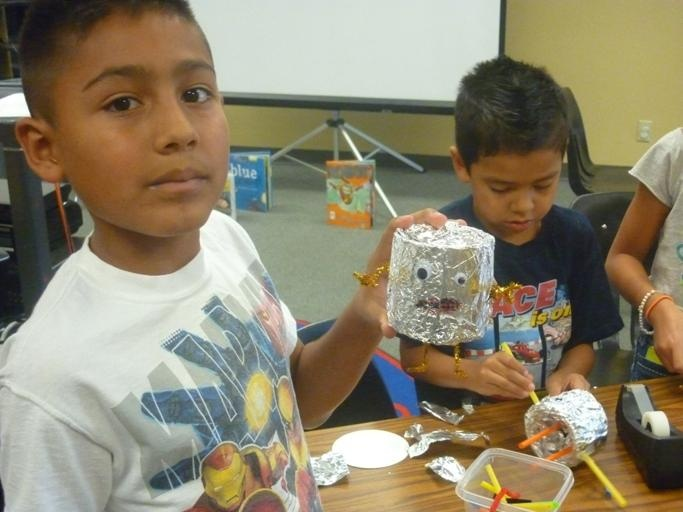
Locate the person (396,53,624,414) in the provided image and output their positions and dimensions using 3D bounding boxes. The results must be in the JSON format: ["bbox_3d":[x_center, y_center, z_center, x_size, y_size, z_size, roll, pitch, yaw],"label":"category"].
[{"bbox_3d":[0.345,0.101,1.283,0.357,0.930,0.382,2,10,14],"label":"person"}]
